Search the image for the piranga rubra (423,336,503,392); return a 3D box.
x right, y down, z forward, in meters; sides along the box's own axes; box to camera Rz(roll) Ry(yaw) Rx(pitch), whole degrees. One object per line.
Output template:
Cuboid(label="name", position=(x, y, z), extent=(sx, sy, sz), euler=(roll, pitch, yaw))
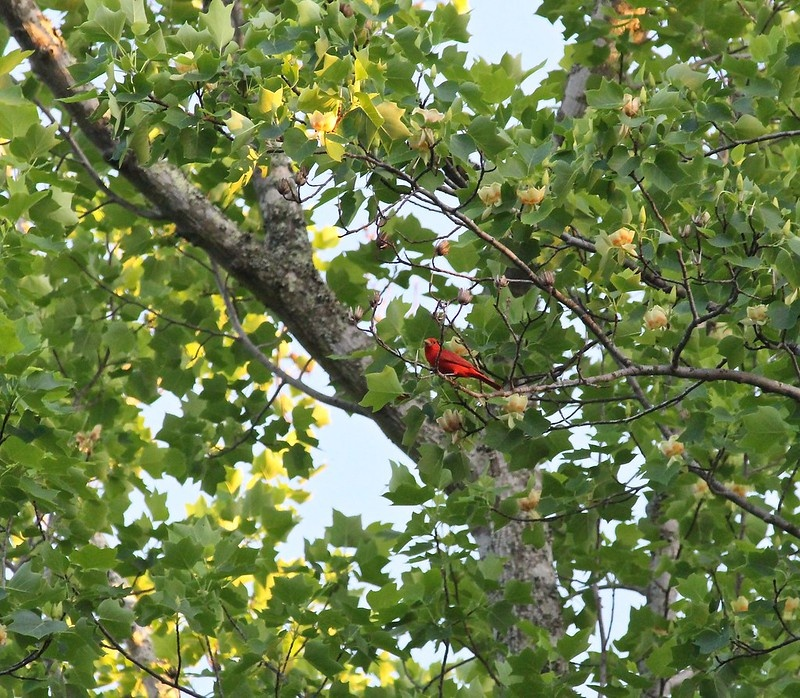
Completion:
Cuboid(label="piranga rubra", position=(0.293, 0.082, 8.814), extent=(0.398, 0.182, 0.106), euler=(12, -24, 9))
